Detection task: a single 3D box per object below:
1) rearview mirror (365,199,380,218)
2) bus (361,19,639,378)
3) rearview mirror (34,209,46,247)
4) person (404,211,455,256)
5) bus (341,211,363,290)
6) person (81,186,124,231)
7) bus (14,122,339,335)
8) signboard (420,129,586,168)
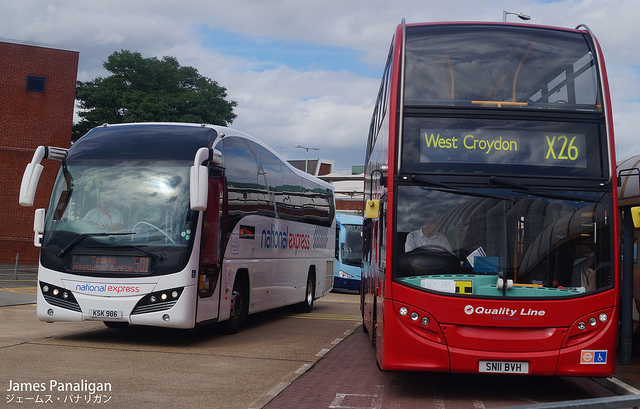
[{"bbox_3d":[0.890,0.078,10.500,0.182,0.290,0.351,3,-3,-31],"label":"rearview mirror"},{"bbox_3d":[2.905,-0.140,9.894,3.729,5.727,0.977,2,-2,0],"label":"bus"},{"bbox_3d":[-6.163,0.510,13.047,0.217,0.621,0.218,4,-2,-37],"label":"rearview mirror"},{"bbox_3d":[1.741,0.471,9.968,1.032,1.071,0.650,0,0,5],"label":"person"},{"bbox_3d":[1.515,2.422,30.072,1.070,3.737,0.901,2,-2,0],"label":"bus"},{"bbox_3d":[-4.672,0.117,12.816,0.905,0.870,0.486,1,-11,-9],"label":"person"},{"bbox_3d":[-2.911,0.650,17.734,4.069,4.810,11.662,2,-2,16],"label":"bus"},{"bbox_3d":[2.979,-0.928,9.734,2.649,0.543,0.059,2,-2,1],"label":"signboard"}]
